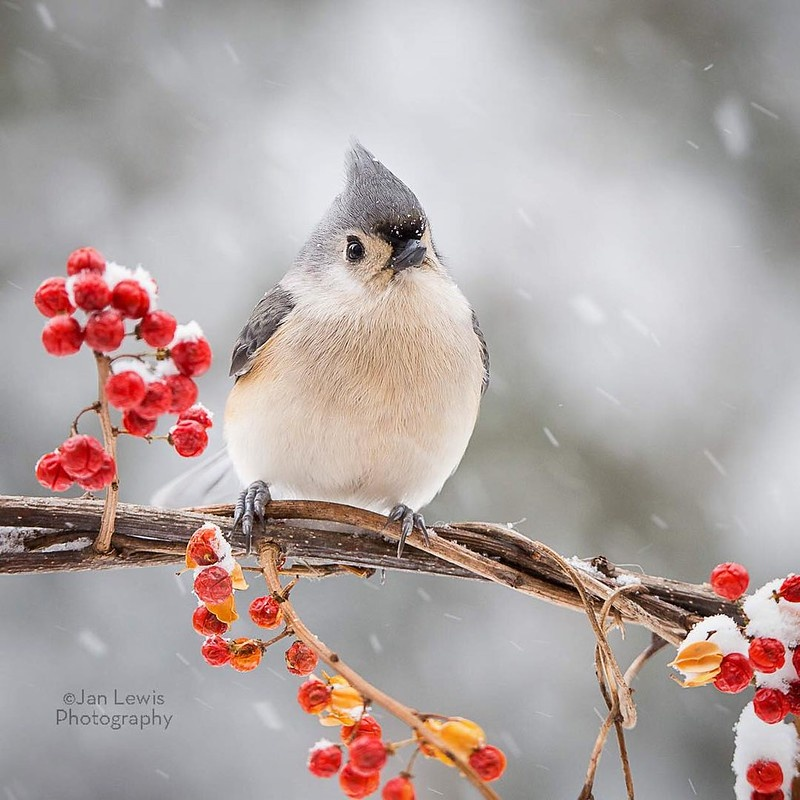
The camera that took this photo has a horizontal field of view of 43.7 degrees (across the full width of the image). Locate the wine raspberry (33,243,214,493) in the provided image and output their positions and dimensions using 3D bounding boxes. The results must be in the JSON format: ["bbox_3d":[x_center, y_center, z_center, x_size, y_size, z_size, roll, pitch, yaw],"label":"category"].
[{"bbox_3d":[-0.520,-0.088,1.974,0.337,0.535,0.323,4,16,29],"label":"wine raspberry"}]

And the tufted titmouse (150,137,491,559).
[{"bbox_3d":[-0.171,-0.105,2.590,0.591,1.055,0.789,-5,17,-27],"label":"tufted titmouse"}]
